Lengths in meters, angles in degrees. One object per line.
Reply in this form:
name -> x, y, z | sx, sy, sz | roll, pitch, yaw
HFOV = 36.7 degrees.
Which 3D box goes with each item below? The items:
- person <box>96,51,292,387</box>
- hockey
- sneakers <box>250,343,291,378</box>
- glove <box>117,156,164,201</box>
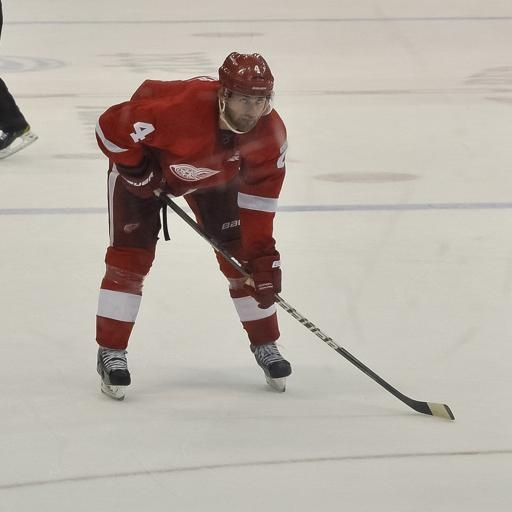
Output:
person -> -0.180, -0.095, 2.133 | 0.523, 0.919, 0.540 | 0, 30, -5
hockey -> 0.151, 0.176, 2.539 | 1.300, 0.031, 0.203 | 32, 72, 1
sneakers -> 0.040, 0.311, 2.296 | 0.063, 0.048, 0.142 | -23, 23, -16
glove -> -0.305, -0.214, 2.108 | 0.117, 0.105, 0.113 | -7, 7, -12
